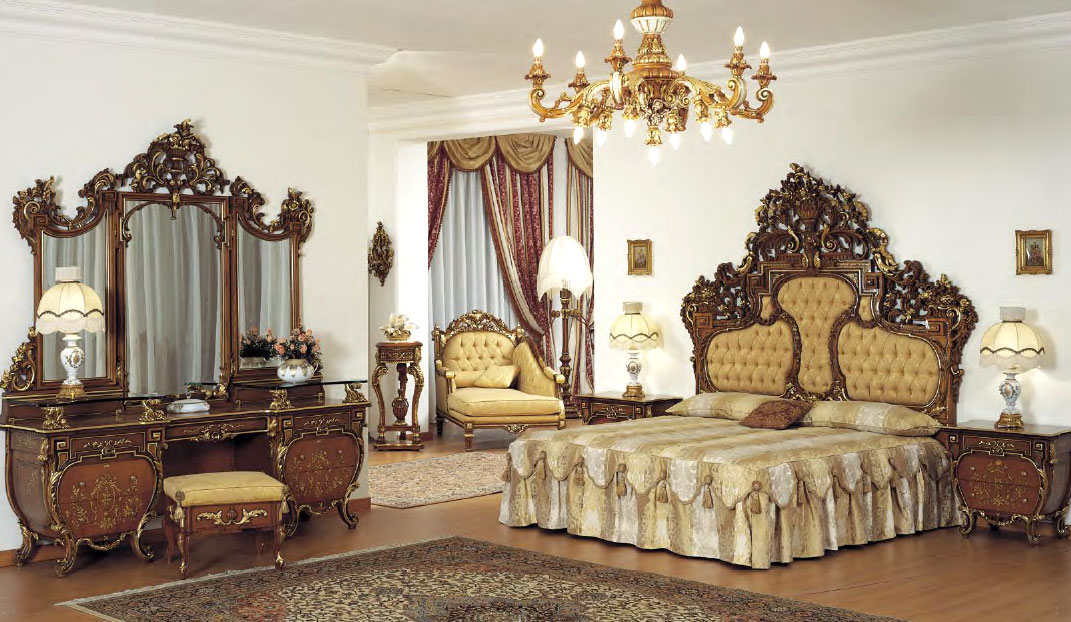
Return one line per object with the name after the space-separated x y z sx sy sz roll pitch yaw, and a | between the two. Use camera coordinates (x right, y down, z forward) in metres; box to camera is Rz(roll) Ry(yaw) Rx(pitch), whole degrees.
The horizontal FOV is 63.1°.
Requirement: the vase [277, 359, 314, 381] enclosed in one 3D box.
-2.106 0.528 7.700 0.220 0.142 0.214 -3 6 -25 | vase

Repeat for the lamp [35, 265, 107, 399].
-3.741 0.165 7.034 0.504 1.029 0.372 -4 7 -27 | lamp

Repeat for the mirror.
-3.322 -0.414 7.418 2.596 2.304 0.244 -2 3 -44 | mirror

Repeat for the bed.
2.008 0.299 7.733 3.143 3.255 2.377 3 7 32 | bed

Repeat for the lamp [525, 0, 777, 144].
0.991 -1.962 6.986 1.414 0.938 1.499 -4 8 -31 | lamp

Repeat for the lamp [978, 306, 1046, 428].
4.103 0.474 7.569 0.537 1.024 0.426 -6 9 -42 | lamp

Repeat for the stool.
-2.498 1.602 6.954 0.853 0.706 0.830 1 -5 -28 | stool

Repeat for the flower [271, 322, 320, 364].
-2.133 0.280 7.763 0.347 0.291 0.345 3 6 25 | flower

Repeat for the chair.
-0.530 0.899 11.478 1.511 1.545 1.759 -1 4 -30 | chair

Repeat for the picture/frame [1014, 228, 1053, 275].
4.356 -0.517 7.618 0.408 0.496 0.059 3 3 32 | picture/frame

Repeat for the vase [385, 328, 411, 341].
-1.699 0.315 10.842 0.283 0.149 0.146 -2 6 -13 | vase

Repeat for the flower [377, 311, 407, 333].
-1.758 0.164 10.880 0.304 0.166 0.305 -8 -7 25 | flower

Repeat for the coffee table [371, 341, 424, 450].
-1.765 1.025 11.065 0.637 1.330 0.815 -2 7 -10 | coffee table

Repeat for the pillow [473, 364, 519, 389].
-0.488 0.865 11.587 0.375 0.112 0.353 0 36 31 | pillow

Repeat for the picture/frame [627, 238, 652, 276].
1.119 -0.573 9.329 0.415 0.474 0.083 -1 -3 35 | picture/frame
